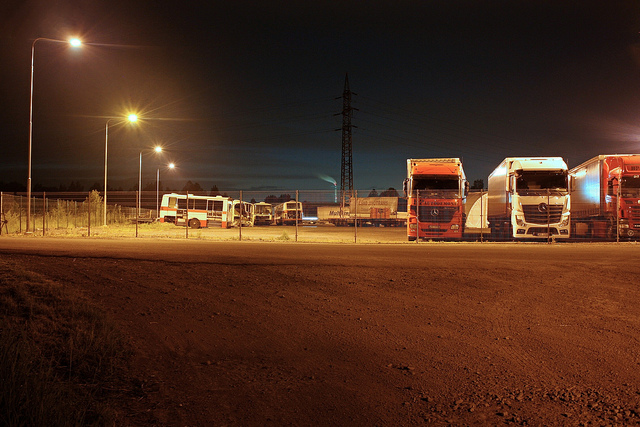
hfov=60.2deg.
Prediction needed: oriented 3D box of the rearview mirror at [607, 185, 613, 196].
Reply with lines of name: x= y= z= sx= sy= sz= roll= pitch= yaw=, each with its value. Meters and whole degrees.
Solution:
rearview mirror: x=14.598 y=-1.167 z=27.726 sx=0.259 sy=0.474 sz=0.096 roll=5 pitch=8 yaw=40

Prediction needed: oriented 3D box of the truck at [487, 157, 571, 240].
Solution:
truck: x=12.133 y=-0.247 z=31.099 sx=3.243 sy=4.608 sz=9.286 roll=-1 pitch=-10 yaw=18

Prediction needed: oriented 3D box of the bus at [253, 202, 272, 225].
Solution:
bus: x=-7.227 y=-0.160 z=67.272 sx=1.902 sy=2.309 sz=5.490 roll=0 pitch=-2 yaw=-2

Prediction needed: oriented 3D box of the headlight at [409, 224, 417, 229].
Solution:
headlight: x=4.826 y=0.625 z=28.641 sx=0.229 sy=0.241 sz=0.058 roll=4 pitch=12 yaw=26

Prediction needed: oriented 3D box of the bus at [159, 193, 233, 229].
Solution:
bus: x=-10.617 y=-0.241 z=46.947 sx=5.846 sy=2.996 sz=2.107 roll=5 pitch=-3 yaw=15

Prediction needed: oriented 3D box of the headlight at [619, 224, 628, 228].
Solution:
headlight: x=15.198 y=0.587 z=27.543 sx=0.286 sy=0.164 sz=0.070 roll=1 pitch=-3 yaw=14

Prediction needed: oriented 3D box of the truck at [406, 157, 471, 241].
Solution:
truck: x=5.966 y=-0.683 z=28.364 sx=3.001 sy=4.245 sz=1.620 roll=1 pitch=6 yaw=7
